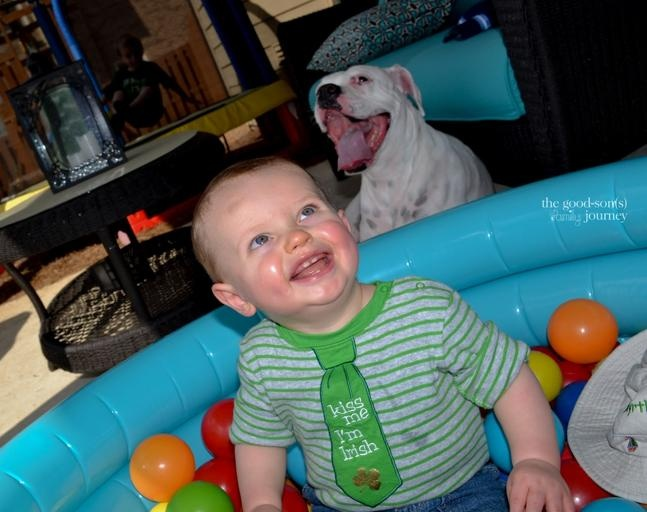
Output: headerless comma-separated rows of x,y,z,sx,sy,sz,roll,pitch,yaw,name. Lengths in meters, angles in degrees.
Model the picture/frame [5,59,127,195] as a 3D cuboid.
-1.164,-0.574,2.311,0.357,0.396,0.146,-27,19,-17,picture/frame
